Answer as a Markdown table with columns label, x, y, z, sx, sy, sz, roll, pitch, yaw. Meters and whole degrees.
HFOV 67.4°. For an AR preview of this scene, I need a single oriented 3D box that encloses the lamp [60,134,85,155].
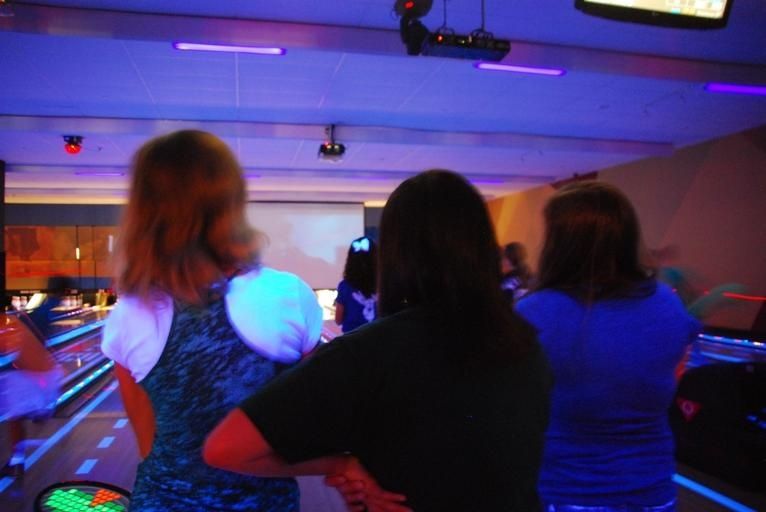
| label | x | y | z | sx | sy | sz | roll | pitch | yaw |
| --- | --- | --- | --- | --- | --- | --- | --- | --- | --- |
| lamp | -3.777 | -1.371 | 6.979 | 0.192 | 0.195 | 0.278 | -1 | 6 | -32 |

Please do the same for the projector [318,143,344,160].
| label | x | y | z | sx | sy | sz | roll | pitch | yaw |
| --- | --- | --- | --- | --- | --- | --- | --- | --- | --- |
| projector | -0.653 | -1.335 | 7.291 | 0.279 | 0.112 | 0.268 | 2 | -11 | -9 |
